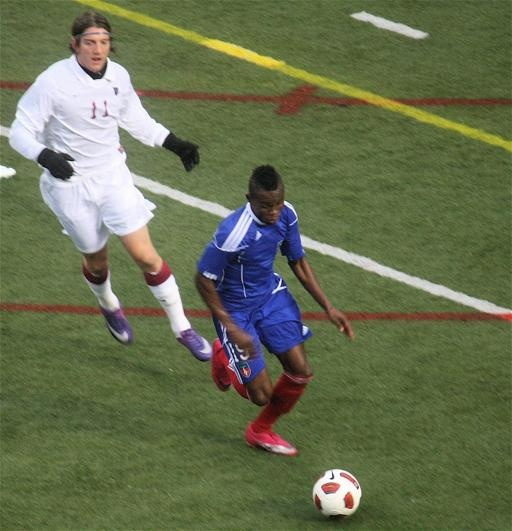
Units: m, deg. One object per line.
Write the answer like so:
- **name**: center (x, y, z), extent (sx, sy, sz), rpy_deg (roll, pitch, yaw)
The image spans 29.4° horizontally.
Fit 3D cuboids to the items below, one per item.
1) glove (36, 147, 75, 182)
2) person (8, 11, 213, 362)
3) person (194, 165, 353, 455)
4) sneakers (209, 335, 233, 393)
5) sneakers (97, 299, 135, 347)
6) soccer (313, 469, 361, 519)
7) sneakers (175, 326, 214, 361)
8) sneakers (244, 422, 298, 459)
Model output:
- **glove**: center (-1.256, -0.646, 6.187), extent (0.218, 0.207, 0.165), rpy_deg (-17, 21, -12)
- **person**: center (-0.937, -0.423, 6.618), extent (1.054, 2.541, 0.616), rpy_deg (-21, 22, -13)
- **person**: center (0.187, 0.348, 6.482), extent (1.231, 1.966, 1.029), rpy_deg (-5, 20, -7)
- **sneakers**: center (-0.192, 0.694, 6.777), extent (0.148, 0.346, 0.172), rpy_deg (-4, 6, -28)
- **sneakers**: center (-0.976, 0.430, 7.068), extent (0.145, 0.355, 0.149), rpy_deg (-33, 20, 1)
- **soccer**: center (0.547, 1.455, 6.279), extent (0.362, 0.283, 0.305), rpy_deg (-6, -4, 6)
- **sneakers**: center (-0.417, 0.530, 6.914), extent (0.326, 0.128, 0.159), rpy_deg (34, 75, 31)
- **sneakers**: center (0.107, 1.196, 6.624), extent (0.471, 0.167, 0.147), rpy_deg (17, 50, 2)
